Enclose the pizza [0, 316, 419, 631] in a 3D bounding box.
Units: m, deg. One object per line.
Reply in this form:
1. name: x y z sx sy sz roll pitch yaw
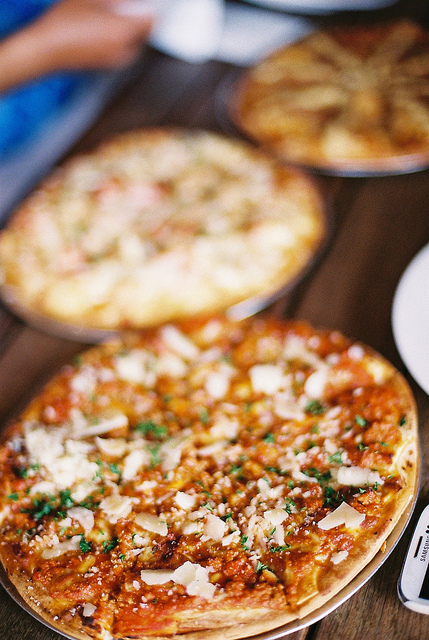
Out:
1. pizza: -0.005 0.179 0.823 0.542 0.065 0.410 -10 61 -2
